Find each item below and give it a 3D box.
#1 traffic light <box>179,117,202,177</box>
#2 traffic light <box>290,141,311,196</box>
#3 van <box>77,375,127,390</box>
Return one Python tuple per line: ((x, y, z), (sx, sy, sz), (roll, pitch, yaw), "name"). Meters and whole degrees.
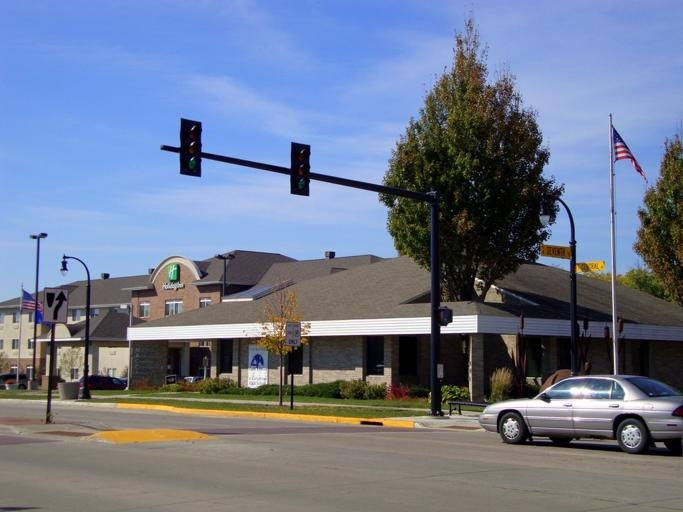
((-4.360, -3.121, 28.131), (0.617, 1.626, 0.308), (4, -12, -22), "traffic light")
((-1.308, -2.720, 30.373), (0.591, 1.622, 0.497), (1, -11, -6), "traffic light")
((-15.704, 8.472, 64.877), (3.168, 1.144, 1.443), (0, -4, -32), "van")
